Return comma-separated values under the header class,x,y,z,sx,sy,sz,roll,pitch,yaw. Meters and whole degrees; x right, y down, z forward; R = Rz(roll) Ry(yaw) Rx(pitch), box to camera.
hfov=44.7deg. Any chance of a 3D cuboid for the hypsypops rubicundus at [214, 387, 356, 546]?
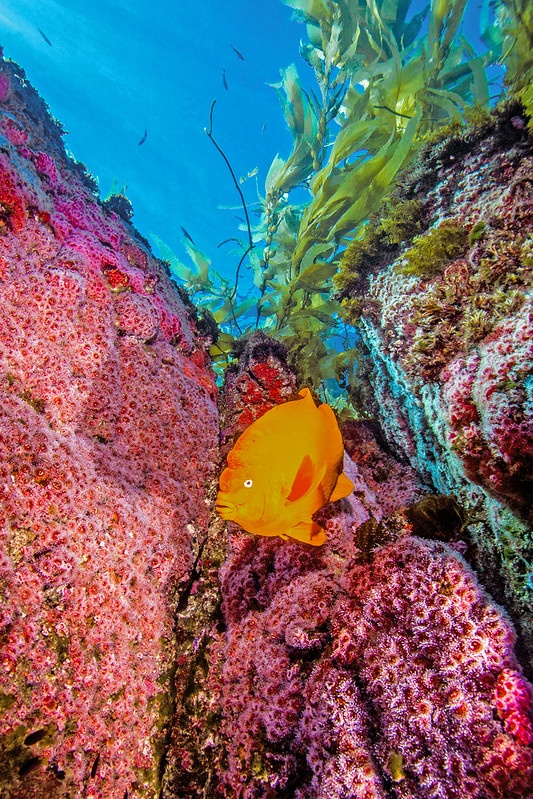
class,x,y,z,sx,sy,sz,roll,pitch,yaw
hypsypops rubicundus,0.103,0.295,2.741,0.562,0.618,0.450,15,28,-5
